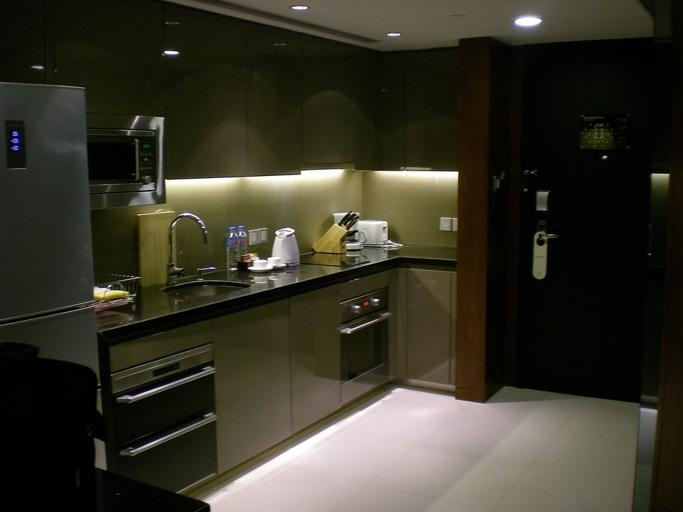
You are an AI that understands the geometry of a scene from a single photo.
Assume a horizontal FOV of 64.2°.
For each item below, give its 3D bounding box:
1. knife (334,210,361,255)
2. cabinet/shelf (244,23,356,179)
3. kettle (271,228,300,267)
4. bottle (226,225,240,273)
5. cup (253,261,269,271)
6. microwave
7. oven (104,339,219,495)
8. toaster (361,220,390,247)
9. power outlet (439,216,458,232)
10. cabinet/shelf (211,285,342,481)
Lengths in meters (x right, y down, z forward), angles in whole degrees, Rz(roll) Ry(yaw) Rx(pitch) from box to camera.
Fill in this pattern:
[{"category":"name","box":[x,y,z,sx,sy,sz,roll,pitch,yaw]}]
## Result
[{"category":"knife","box":[0.149,-0.212,4.631,0.322,0.365,0.186,4,5,26]},{"category":"cabinet/shelf","box":[-0.151,-1.076,4.298,0.971,0.879,0.356,-1,-1,-15]},{"category":"kettle","box":[-0.403,-0.068,3.970,0.187,0.282,0.258,-1,3,-4]},{"category":"bottle","box":[-0.773,-0.061,3.873,0.085,0.292,0.158,0,9,3]},{"category":"cup","box":[-0.558,0.066,3.762,0.054,0.039,0.087,-1,0,44]},{"category":"microwave","box":[-1.119,-0.481,2.808,0.274,0.341,0.452,4,5,32]},{"category":"oven","box":[-1.058,0.854,2.964,0.606,0.833,0.610,-9,13,-38]},{"category":"toaster","box":[0.301,-0.223,4.889,0.312,0.264,0.177,7,12,37]},{"category":"power outlet","box":[0.930,-0.278,4.762,0.146,0.125,0.025,4,10,24]},{"category":"cabinet/shelf","box":[-0.421,0.775,3.328,0.463,0.856,0.940,5,11,36]}]
